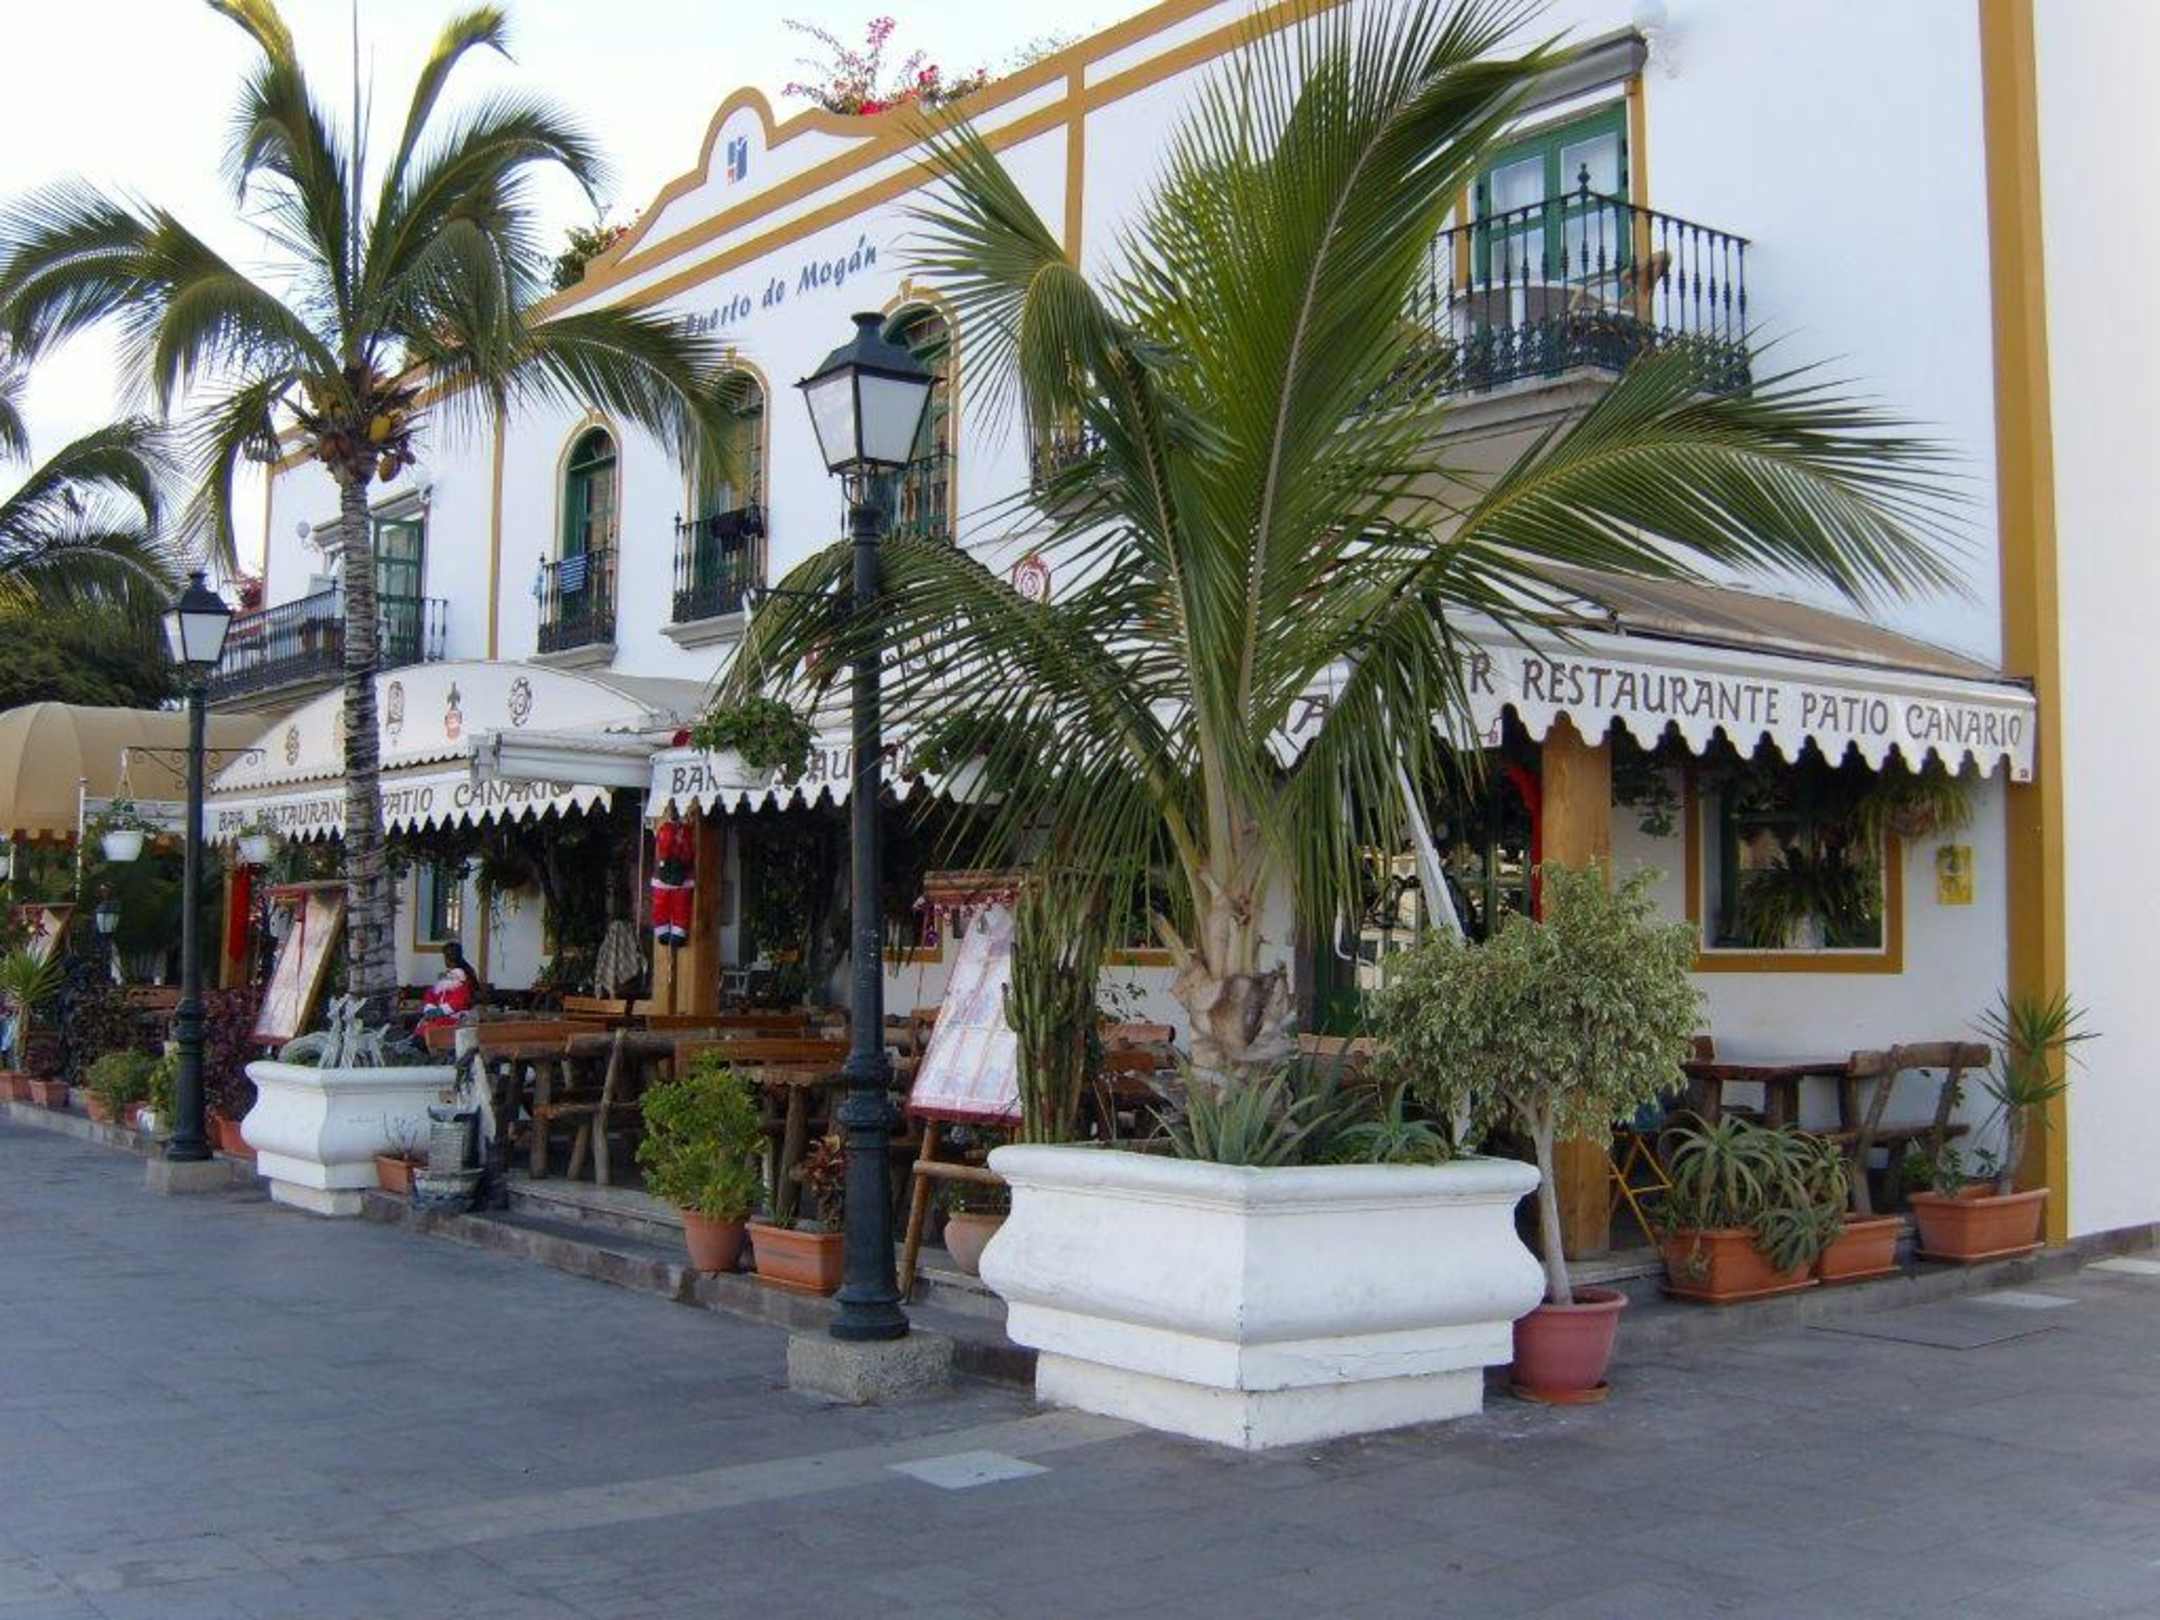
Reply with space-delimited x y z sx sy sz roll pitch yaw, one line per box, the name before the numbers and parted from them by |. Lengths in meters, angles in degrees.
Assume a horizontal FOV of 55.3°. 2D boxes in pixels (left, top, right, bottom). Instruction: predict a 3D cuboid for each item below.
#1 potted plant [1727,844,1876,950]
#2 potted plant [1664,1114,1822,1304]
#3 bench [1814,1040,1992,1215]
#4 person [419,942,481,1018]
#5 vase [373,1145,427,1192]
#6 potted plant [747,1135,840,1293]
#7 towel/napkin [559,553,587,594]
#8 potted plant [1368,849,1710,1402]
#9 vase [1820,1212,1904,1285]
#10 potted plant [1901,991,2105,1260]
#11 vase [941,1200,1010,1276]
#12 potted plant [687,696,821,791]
potted plant | 4.844 0.569 13.818 0.233 0.703 1.134 5 -7 -37
potted plant | 3.627 2.104 11.383 1.058 1.213 0.780 4 -6 -33
bench | 5.084 1.945 12.647 0.982 0.770 0.413 2 -1 -37
person | -5.114 1.350 16.739 0.360 0.622 0.727 3 -6 -19
vase | -4.752 2.435 14.359 0.272 0.211 0.372 4 -1 14
potted plant | -1.606 2.265 11.500 0.345 0.854 0.585 9 -12 -30
towel/napkin | -5.567 -2.591 22.617 0.050 0.422 0.381 -5 10 -39
potted plant | 2.224 1.478 9.657 1.312 2.481 1.273 -3 -7 31
vase | 4.323 2.442 11.463 0.470 0.235 0.339 3 -8 -31
potted plant | 5.595 1.904 12.527 0.822 1.599 1.454 -3 -7 36
vase | -0.578 2.260 11.077 0.333 0.344 0.364 3 1 8
potted plant | -1.842 -0.394 11.757 0.439 0.397 0.489 1 -3 -2
